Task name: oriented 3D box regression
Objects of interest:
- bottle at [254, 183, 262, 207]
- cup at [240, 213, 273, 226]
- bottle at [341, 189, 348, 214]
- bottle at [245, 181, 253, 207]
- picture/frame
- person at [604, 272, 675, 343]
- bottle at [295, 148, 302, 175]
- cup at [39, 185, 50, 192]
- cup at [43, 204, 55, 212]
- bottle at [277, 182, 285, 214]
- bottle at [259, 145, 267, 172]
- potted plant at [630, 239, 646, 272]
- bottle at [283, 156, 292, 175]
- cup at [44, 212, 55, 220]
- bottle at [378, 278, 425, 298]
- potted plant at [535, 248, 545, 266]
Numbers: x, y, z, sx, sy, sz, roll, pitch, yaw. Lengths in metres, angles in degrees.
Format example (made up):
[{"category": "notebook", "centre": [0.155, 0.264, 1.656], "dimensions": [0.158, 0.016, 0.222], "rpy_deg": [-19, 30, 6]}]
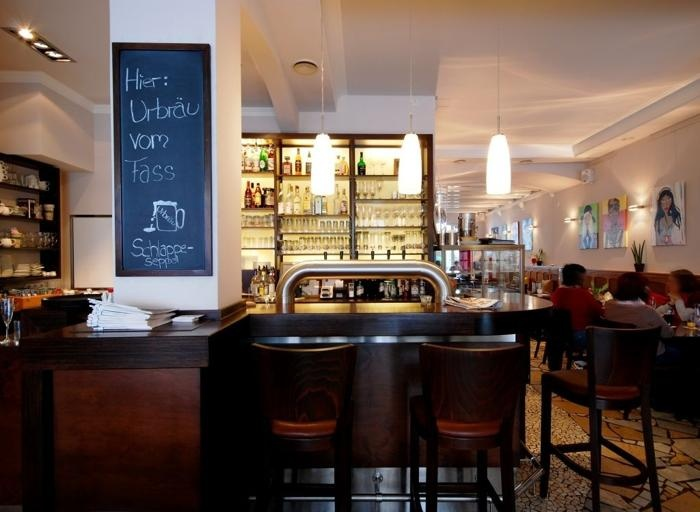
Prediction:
[{"category": "bottle", "centre": [-1.179, -0.796, 7.374], "dimensions": [0.097, 0.305, 0.164], "rpy_deg": [-1, 0, 10]}, {"category": "cup", "centre": [-1.179, -0.483, 7.350], "dimensions": [0.396, 0.185, 0.201], "rpy_deg": [-1, 0, -7]}, {"category": "bottle", "centre": [-0.076, -0.714, 7.396], "dimensions": [0.100, 0.308, 0.140], "rpy_deg": [-1, 0, -1]}, {"category": "bottle", "centre": [-1.305, -0.804, 7.378], "dimensions": [0.122, 0.334, 0.179], "rpy_deg": [-1, 0, 1]}, {"category": "picture/frame", "centre": [-1.465, -0.758, 4.488], "dimensions": [0.744, 1.784, 0.036], "rpy_deg": [-1, 0, -3]}, {"category": "person", "centre": [3.037, 0.518, 6.089], "dimensions": [0.414, 0.710, 0.785], "rpy_deg": [-2, 4, -27]}, {"category": "bottle", "centre": [-0.668, -1.226, 7.423], "dimensions": [0.083, 0.331, 0.214], "rpy_deg": [-1, 0, -5]}, {"category": "cup", "centre": [-4.042, -0.913, 7.612], "dimensions": [0.084, 0.087, 0.064], "rpy_deg": [0, -5, 8]}, {"category": "cup", "centre": [-4.019, -0.653, 7.667], "dimensions": [0.097, 0.080, 0.094], "rpy_deg": [0, 2, 0]}, {"category": "bottle", "centre": [-0.882, -0.758, 7.338], "dimensions": [0.078, 0.401, 0.220], "rpy_deg": [-1, 0, -3]}, {"category": "bottle", "centre": [-1.110, -1.254, 7.371], "dimensions": [0.121, 0.297, 0.086], "rpy_deg": [-1, 0, -15]}, {"category": "potted plant", "centre": [4.489, -0.023, 8.919], "dimensions": [0.200, 0.496, 0.427], "rpy_deg": [-1, 0, 27]}, {"category": "bottle", "centre": [-0.808, -1.174, 7.409], "dimensions": [0.116, 0.261, 0.260], "rpy_deg": [-1, 0, -6]}, {"category": "cup", "centre": [-4.021, -0.540, 7.672], "dimensions": [0.093, 0.107, 0.100], "rpy_deg": [2, 0, 0]}, {"category": "bottle", "centre": [0.605, 0.378, 6.966], "dimensions": [0.291, 0.201, 0.159], "rpy_deg": [1, -15, -6]}, {"category": "potted plant", "centre": [4.485, -0.002, 13.548], "dimensions": [0.151, 0.385, 0.495], "rpy_deg": [-1, 0, 10]}]
